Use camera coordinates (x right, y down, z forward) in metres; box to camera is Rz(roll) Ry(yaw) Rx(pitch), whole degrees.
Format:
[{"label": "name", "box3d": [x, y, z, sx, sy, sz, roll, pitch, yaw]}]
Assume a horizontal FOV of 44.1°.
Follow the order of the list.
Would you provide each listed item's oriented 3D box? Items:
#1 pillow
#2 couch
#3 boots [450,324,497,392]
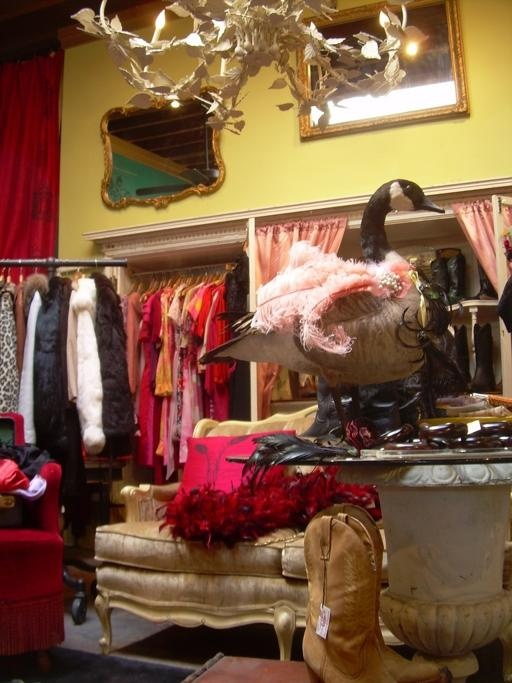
[{"label": "pillow", "box3d": [-0.092, 0.473, 2.466, 0.419, 0.387, 0.124, -7, -42, 27]}, {"label": "couch", "box3d": [-0.123, 0.680, 2.444, 1.150, 1.103, 0.862, -8, -17, 30]}, {"label": "boots", "box3d": [1.168, 0.085, 3.385, 0.207, 0.360, 0.374, -1, 0, 18]}]
